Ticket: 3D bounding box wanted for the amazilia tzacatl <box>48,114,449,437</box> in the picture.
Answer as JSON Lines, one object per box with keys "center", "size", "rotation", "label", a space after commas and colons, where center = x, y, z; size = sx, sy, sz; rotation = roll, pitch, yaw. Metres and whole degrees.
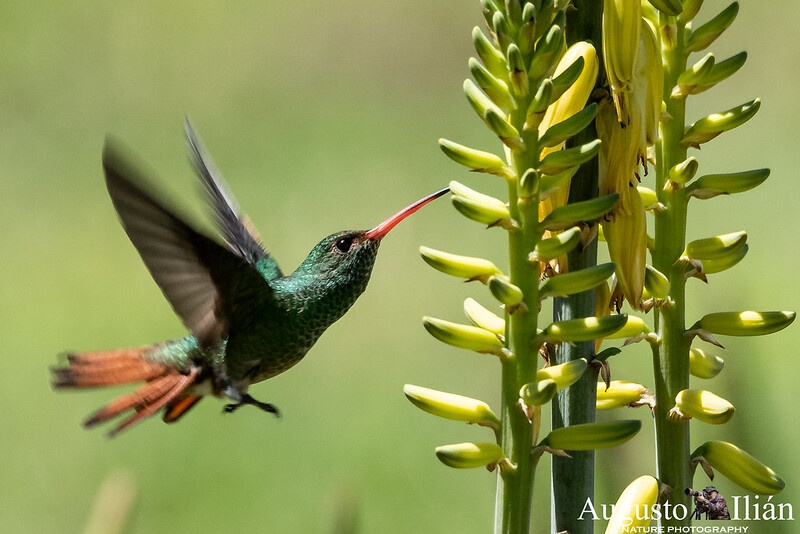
{"center": [-0.254, 0.027, 1.428], "size": [0.477, 0.334, 0.450], "rotation": [-11, -2, -14], "label": "amazilia tzacatl"}
